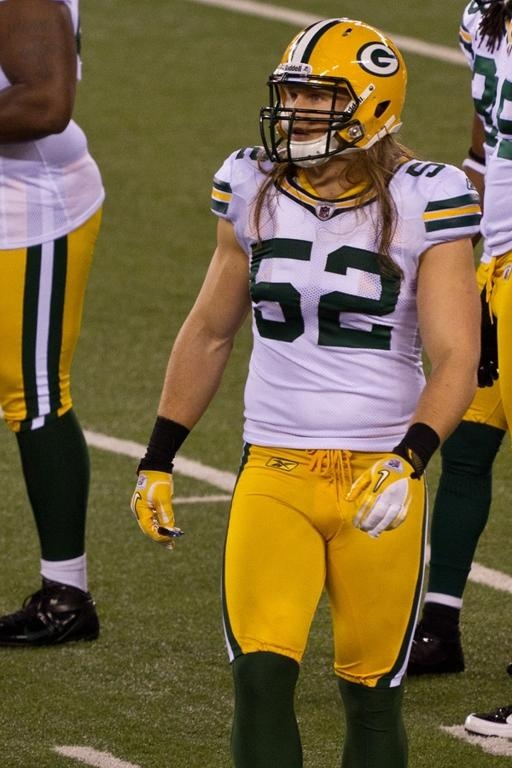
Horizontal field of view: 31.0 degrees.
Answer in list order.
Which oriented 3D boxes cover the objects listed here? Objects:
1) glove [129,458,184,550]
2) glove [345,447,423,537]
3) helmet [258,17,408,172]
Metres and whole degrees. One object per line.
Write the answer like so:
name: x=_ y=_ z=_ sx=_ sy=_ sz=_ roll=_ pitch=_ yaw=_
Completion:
glove: x=-0.187 y=0.227 z=1.719 sx=0.114 sy=0.066 sz=0.132 roll=2 pitch=79 yaw=30
glove: x=0.183 y=0.157 z=1.330 sx=0.094 sy=0.050 sz=0.118 roll=33 pitch=81 yaw=15
helmet: x=0.104 y=-0.514 z=1.662 sx=0.321 sy=0.234 sz=0.227 roll=-8 pitch=14 yaw=-37
